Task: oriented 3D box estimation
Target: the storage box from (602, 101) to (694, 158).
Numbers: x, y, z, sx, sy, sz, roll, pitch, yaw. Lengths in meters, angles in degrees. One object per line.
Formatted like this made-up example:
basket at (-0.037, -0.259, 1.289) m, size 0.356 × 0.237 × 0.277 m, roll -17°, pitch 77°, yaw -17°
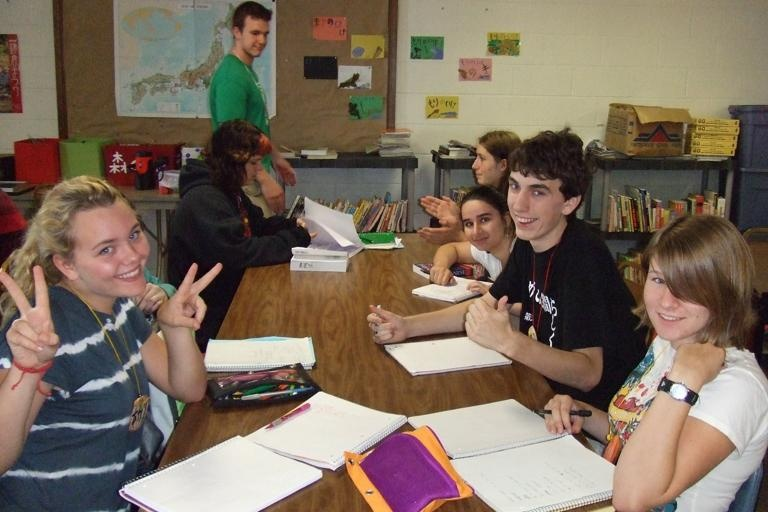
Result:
storage box at (2.187, -1.082, 4.926) m, size 0.605 × 0.435 × 0.657 m, roll -7°, pitch 21°, yaw -16°

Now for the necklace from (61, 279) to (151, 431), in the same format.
necklace at (-0.796, 0.303, 1.818) m, size 0.210 × 0.407 × 0.210 m, roll -22°, pitch -9°, yaw -17°

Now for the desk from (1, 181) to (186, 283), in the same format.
desk at (-0.904, -0.100, 1.801) m, size 0.330 × 0.312 × 0.241 m, roll -5°, pitch 21°, yaw -5°

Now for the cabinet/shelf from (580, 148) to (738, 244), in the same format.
cabinet/shelf at (2.296, -0.303, 5.147) m, size 1.184 × 1.171 × 0.940 m, roll 2°, pitch 9°, yaw 27°

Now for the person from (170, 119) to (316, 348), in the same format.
person at (-0.842, 0.025, 3.345) m, size 0.712 × 1.446 × 0.629 m, roll 2°, pitch 18°, yaw -11°

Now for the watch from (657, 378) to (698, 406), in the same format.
watch at (0.758, 0.348, 1.526) m, size 0.092 × 0.058 × 0.087 m, roll 33°, pitch 4°, yaw 17°

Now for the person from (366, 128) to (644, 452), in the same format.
person at (0.364, 0.008, 2.602) m, size 1.105 × 1.578 × 0.794 m, roll -5°, pitch 6°, yaw -9°
